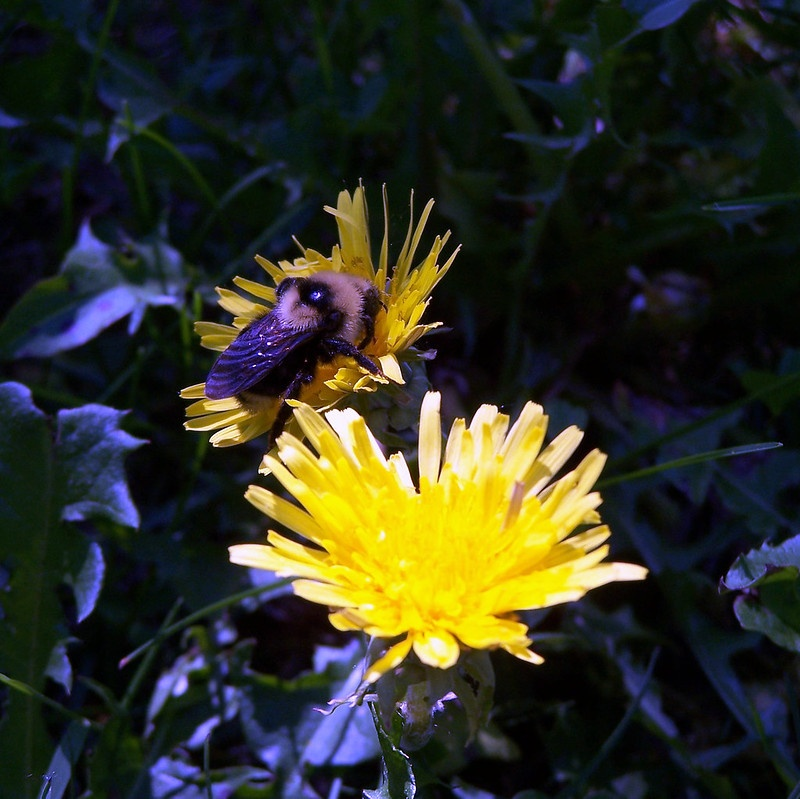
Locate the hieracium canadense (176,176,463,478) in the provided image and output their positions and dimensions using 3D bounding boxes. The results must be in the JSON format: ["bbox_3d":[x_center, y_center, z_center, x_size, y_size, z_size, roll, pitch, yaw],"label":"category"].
[{"bbox_3d":[-0.164,-0.139,1.829,0.378,0.370,0.649,34,55,17],"label":"hieracium canadense"}]

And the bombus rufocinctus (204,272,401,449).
[{"bbox_3d":[-0.208,-0.060,1.831,0.430,0.239,0.358,9,81,-12],"label":"bombus rufocinctus"}]
